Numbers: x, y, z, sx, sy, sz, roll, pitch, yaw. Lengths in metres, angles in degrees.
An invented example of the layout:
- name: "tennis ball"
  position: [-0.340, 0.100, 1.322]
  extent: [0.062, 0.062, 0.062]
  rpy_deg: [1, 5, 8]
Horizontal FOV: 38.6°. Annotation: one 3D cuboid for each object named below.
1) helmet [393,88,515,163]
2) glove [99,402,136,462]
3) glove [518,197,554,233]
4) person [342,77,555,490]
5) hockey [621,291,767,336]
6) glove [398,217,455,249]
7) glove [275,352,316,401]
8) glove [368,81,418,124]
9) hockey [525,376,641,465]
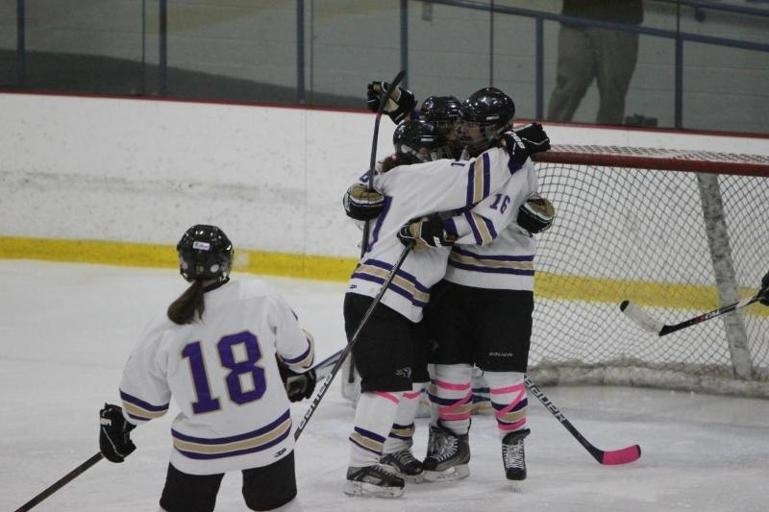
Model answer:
- name: "helmet"
  position: [0.451, -0.773, 6.450]
  extent: [0.650, 0.306, 0.444]
  rpy_deg: [-17, 13, 24]
- name: "glove"
  position: [-1.353, 0.928, 5.672]
  extent: [0.175, 0.299, 0.252]
  rpy_deg: [8, -6, -43]
- name: "glove"
  position: [0.865, -0.242, 6.428]
  extent: [0.191, 0.198, 0.216]
  rpy_deg: [11, 3, -11]
- name: "person"
  position: [0.345, 0.181, 6.284]
  extent: [1.177, 2.299, 0.658]
  rpy_deg: [2, 10, -3]
- name: "hockey"
  position: [2.272, 0.437, 8.017]
  extent: [1.096, 0.340, 0.088]
  rpy_deg: [-6, -30, -6]
- name: "glove"
  position: [0.227, -0.128, 6.156]
  extent: [0.290, 0.157, 0.110]
  rpy_deg: [-2, 2, 3]
- name: "glove"
  position: [-0.455, 0.657, 5.782]
  extent: [0.187, 0.252, 0.109]
  rpy_deg: [3, 17, 30]
- name: "glove"
  position: [0.051, -0.977, 6.851]
  extent: [0.284, 0.119, 0.284]
  rpy_deg: [28, -34, -13]
- name: "hockey"
  position: [1.222, 1.046, 6.742]
  extent: [0.189, 0.182, 1.357]
  rpy_deg: [26, 3, -14]
